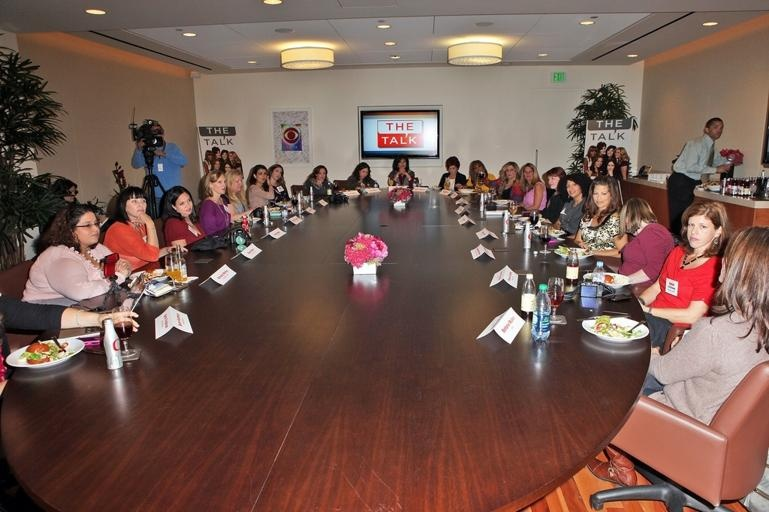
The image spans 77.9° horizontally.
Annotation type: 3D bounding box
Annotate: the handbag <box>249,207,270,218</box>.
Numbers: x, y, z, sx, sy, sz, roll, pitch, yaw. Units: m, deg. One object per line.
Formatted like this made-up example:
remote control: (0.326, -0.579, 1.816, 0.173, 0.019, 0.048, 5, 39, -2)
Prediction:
handbag: (-1.361, -0.470, 5.181, 0.191, 0.146, 0.195, 1, -1, 32)

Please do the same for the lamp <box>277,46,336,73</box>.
lamp: (-1.223, -3.129, 7.448, 0.797, 0.307, 0.460, 1, 13, -5)

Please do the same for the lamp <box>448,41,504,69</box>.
lamp: (1.383, -3.140, 7.302, 0.779, 0.315, 0.518, 4, 13, 7)

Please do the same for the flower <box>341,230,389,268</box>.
flower: (-0.137, -0.056, 3.305, 0.219, 0.163, 0.277, -1, 16, 1)

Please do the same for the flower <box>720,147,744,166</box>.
flower: (5.138, -1.478, 7.045, 0.265, 0.376, 0.273, -1, 16, 19)

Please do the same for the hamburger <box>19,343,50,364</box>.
hamburger: (-1.601, 0.447, 2.188, 0.094, 0.053, 0.096, 14, 14, 43)

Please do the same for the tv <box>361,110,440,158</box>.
tv: (0.356, -2.592, 9.918, 1.249, 0.737, 0.089, 1, 16, 2)
